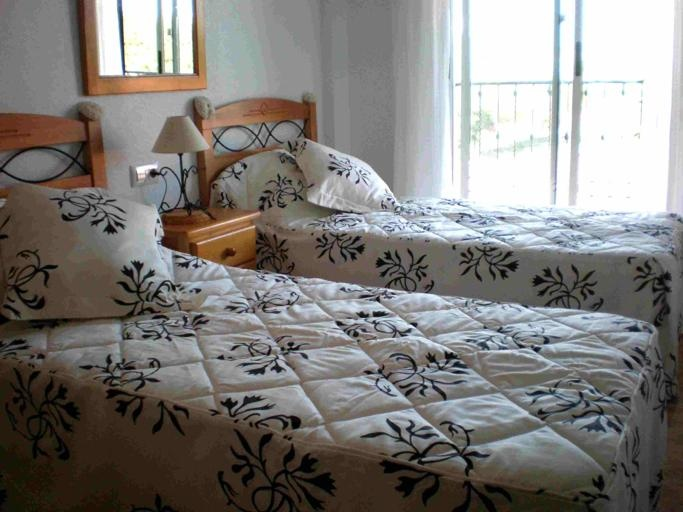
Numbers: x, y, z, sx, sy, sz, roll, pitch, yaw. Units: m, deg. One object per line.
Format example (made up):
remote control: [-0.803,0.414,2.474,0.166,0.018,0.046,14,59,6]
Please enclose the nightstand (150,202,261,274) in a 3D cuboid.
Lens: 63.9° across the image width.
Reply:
nightstand: [-0.764,-0.142,3.064,0.370,0.416,0.484,10,17,30]
